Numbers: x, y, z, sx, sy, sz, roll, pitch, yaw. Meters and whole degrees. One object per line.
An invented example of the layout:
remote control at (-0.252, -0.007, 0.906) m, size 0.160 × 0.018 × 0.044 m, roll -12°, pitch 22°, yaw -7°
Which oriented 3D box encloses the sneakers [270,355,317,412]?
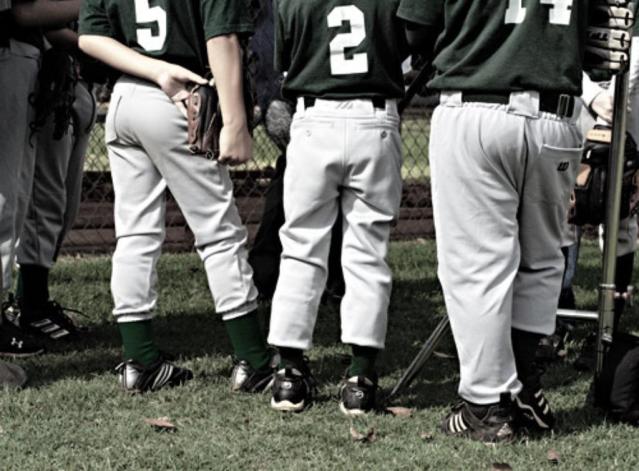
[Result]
sneakers at (-0.157, 0.643, 3.101) m, size 0.190 × 0.175 × 0.431 m, roll 5°, pitch 9°, yaw -7°

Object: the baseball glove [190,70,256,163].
baseball glove at (-0.462, -0.529, 2.937) m, size 0.273 × 0.366 × 0.123 m, roll -2°, pitch 9°, yaw -8°

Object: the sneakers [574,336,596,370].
sneakers at (1.372, 0.620, 3.463) m, size 0.116 × 0.142 × 0.343 m, roll 6°, pitch 8°, yaw 24°

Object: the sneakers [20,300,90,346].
sneakers at (-1.515, 0.489, 3.836) m, size 0.429 × 0.182 × 0.136 m, roll 13°, pitch 14°, yaw -15°

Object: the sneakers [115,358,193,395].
sneakers at (-0.774, 0.653, 3.165) m, size 0.357 × 0.145 × 0.123 m, roll -3°, pitch 6°, yaw -33°

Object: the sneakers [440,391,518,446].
sneakers at (0.635, 0.724, 2.685) m, size 0.157 × 0.116 × 0.277 m, roll -1°, pitch 2°, yaw -29°

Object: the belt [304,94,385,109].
belt at (0.105, -0.586, 2.925) m, size 0.362 × 0.046 × 0.108 m, roll 1°, pitch 11°, yaw -1°
